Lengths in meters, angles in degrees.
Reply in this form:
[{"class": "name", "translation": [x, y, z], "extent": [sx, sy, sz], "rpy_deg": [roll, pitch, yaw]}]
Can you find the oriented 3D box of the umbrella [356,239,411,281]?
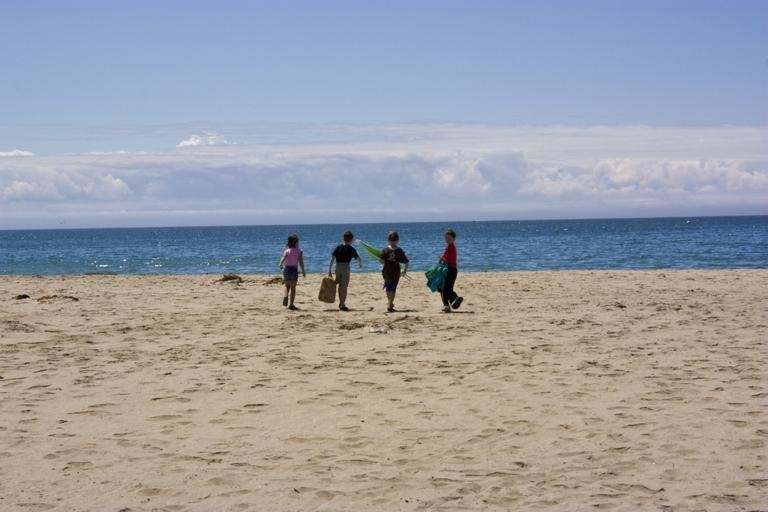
[{"class": "umbrella", "translation": [-0.083, -0.085, 21.517], "extent": [1.211, 0.302, 0.221], "rpy_deg": [17, 32, -13]}]
